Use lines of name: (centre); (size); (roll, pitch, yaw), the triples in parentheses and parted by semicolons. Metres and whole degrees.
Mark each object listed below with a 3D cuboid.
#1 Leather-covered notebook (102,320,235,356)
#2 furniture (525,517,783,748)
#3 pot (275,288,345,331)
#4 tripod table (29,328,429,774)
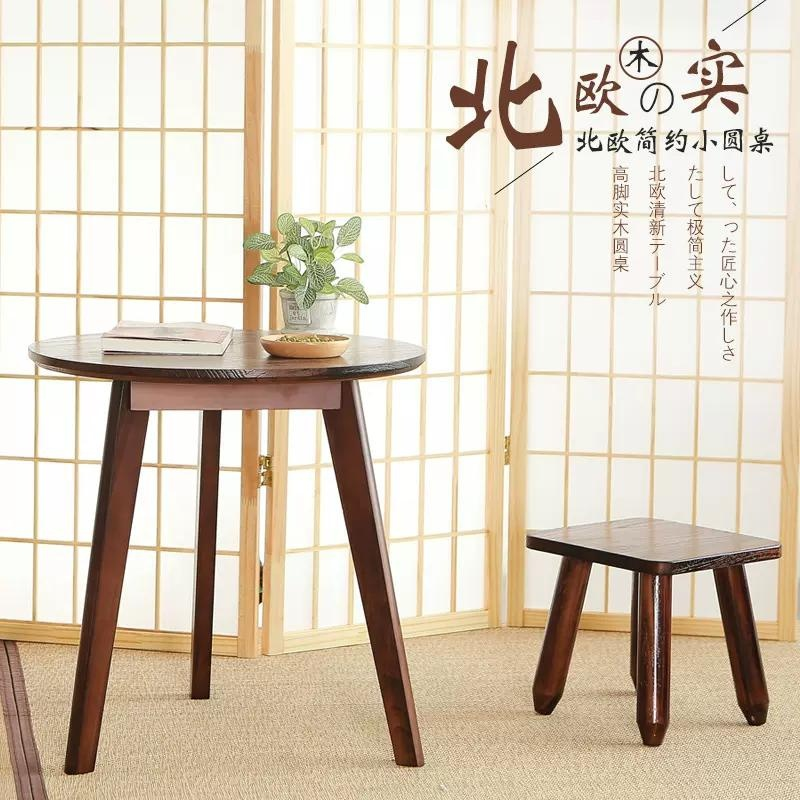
Leather-covered notebook: (-0.492, -0.131, 1.897); (0.263, 0.067, 0.268); (0, 4, -12)
furniture: (0.582, 0.446, 2.204); (0.575, 0.513, 0.501); (0, 0, -37)
pot: (-0.213, -0.207, 2.113); (0.112, 0.067, 0.112); (1, 6, 0)
tripod table: (-0.372, 0.319, 1.968); (0.806, 0.922, 0.664); (0, 5, -21)
